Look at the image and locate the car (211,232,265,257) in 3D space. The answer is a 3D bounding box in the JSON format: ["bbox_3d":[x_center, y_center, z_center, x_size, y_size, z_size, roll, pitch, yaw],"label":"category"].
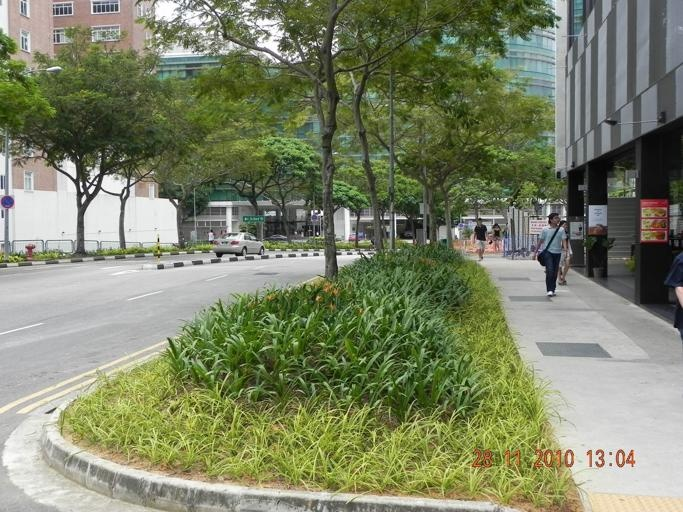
[{"bbox_3d":[-6.476,-0.724,40.213,1.469,1.210,3.487,0,3,19],"label":"car"}]

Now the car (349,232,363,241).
[{"bbox_3d":[1.930,-2.462,81.707,1.300,1.192,3.062,-1,-5,4],"label":"car"}]

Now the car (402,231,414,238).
[{"bbox_3d":[9.647,-3.031,87.474,1.181,0.938,8.145,-1,3,5],"label":"car"}]

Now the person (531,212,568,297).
[{"bbox_3d":[5.216,-0.011,15.118,0.630,2.093,0.879,1,4,21],"label":"person"}]

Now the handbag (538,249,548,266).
[{"bbox_3d":[4.990,0.042,15.064,0.217,0.399,0.560,0,4,18],"label":"handbag"}]
